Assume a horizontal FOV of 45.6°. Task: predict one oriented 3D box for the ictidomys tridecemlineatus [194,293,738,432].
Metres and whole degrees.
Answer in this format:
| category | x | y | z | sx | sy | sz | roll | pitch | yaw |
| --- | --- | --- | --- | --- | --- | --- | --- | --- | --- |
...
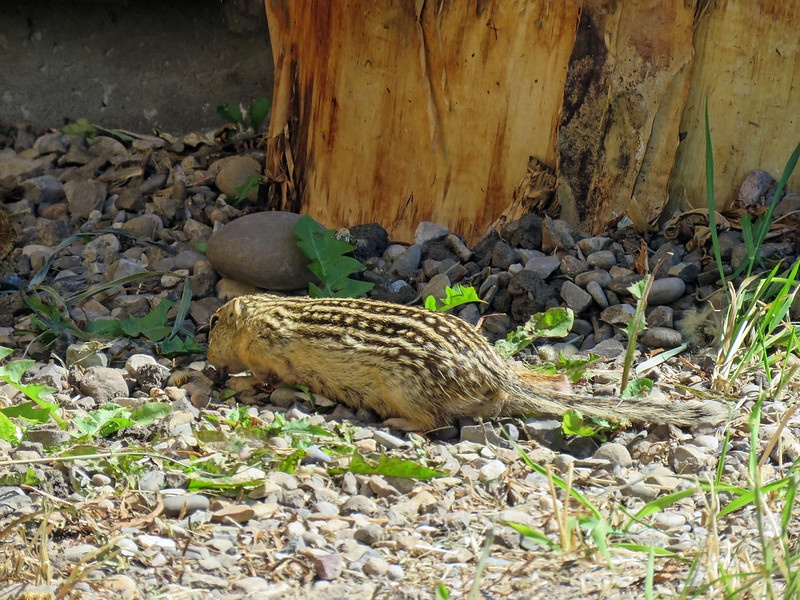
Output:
| category | x | y | z | sx | sy | sz | roll | pitch | yaw |
| --- | --- | --- | --- | --- | --- | --- | --- | --- | --- |
| ictidomys tridecemlineatus | 0.522 | 0.261 | 5.795 | 3.970 | 0.952 | 0.943 | 4 | 6 | 20 |
